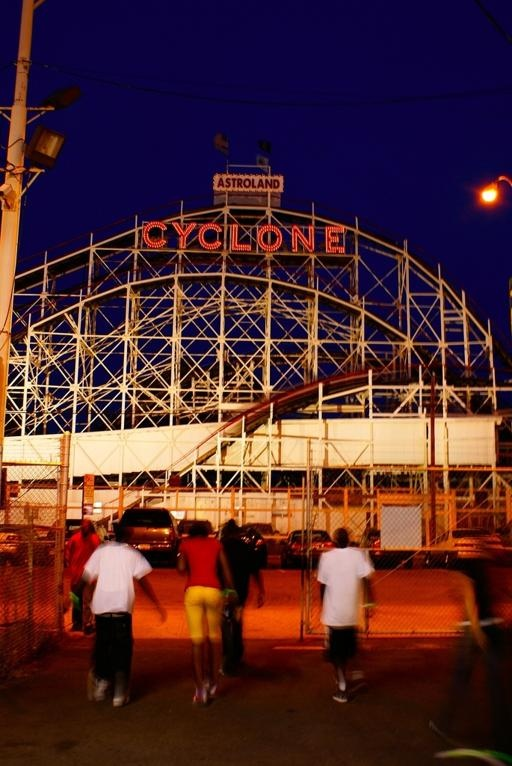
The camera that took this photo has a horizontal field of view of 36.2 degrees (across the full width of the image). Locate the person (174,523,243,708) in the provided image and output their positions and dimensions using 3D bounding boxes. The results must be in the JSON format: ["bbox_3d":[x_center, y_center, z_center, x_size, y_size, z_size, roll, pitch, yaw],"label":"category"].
[{"bbox_3d":[-0.457,2.022,7.193,0.491,1.527,1.296,-1,-12,-2],"label":"person"}]

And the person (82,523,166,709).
[{"bbox_3d":[-1.187,2.021,6.673,0.557,1.318,0.373,-2,-13,4],"label":"person"}]

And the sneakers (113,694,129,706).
[{"bbox_3d":[-1.110,2.603,6.466,0.146,0.091,0.087,8,-15,-36],"label":"sneakers"}]

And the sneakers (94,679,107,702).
[{"bbox_3d":[-1.323,2.598,6.672,0.150,0.206,0.071,3,-15,1],"label":"sneakers"}]

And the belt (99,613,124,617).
[{"bbox_3d":[-1.192,1.928,6.536,0.202,0.043,0.044,0,-12,-4],"label":"belt"}]

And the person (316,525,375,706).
[{"bbox_3d":[0.864,2.118,7.436,0.524,1.475,1.159,-2,-13,6],"label":"person"}]
